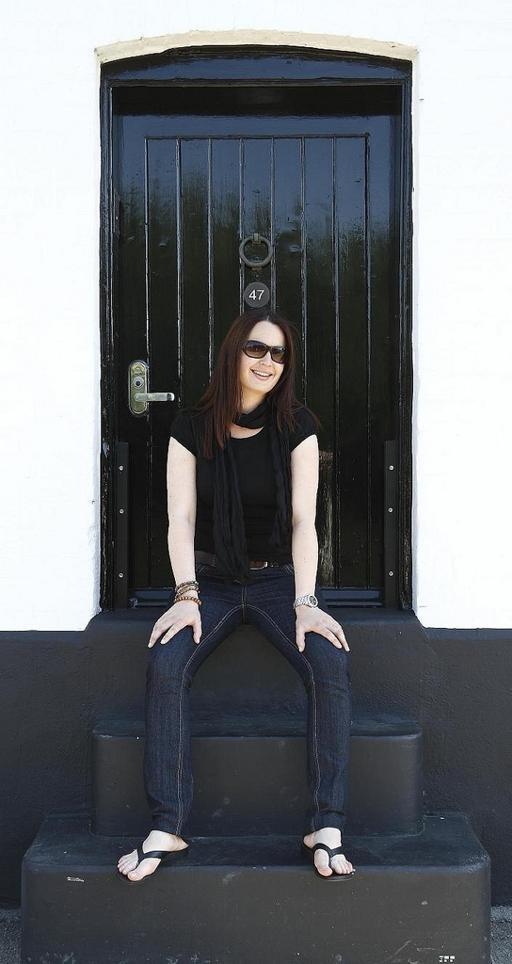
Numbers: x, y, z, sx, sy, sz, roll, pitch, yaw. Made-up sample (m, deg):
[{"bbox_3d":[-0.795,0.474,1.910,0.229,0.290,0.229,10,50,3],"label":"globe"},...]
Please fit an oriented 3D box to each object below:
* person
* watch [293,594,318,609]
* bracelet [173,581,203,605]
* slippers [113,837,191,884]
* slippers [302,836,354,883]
[{"bbox_3d":[-0.035,0.223,2.446,0.555,1.403,0.653,0,3,4],"label":"person"},{"bbox_3d":[0.136,0.325,2.500,0.065,0.038,0.059,0,3,2],"label":"watch"},{"bbox_3d":[-0.192,0.306,2.542,0.074,0.062,0.103,0,3,-4],"label":"bracelet"},{"bbox_3d":[-0.259,0.889,2.220,0.145,0.064,0.082,-15,13,-34],"label":"slippers"},{"bbox_3d":[0.176,0.908,2.232,0.109,0.095,0.168,0,3,-5],"label":"slippers"}]
